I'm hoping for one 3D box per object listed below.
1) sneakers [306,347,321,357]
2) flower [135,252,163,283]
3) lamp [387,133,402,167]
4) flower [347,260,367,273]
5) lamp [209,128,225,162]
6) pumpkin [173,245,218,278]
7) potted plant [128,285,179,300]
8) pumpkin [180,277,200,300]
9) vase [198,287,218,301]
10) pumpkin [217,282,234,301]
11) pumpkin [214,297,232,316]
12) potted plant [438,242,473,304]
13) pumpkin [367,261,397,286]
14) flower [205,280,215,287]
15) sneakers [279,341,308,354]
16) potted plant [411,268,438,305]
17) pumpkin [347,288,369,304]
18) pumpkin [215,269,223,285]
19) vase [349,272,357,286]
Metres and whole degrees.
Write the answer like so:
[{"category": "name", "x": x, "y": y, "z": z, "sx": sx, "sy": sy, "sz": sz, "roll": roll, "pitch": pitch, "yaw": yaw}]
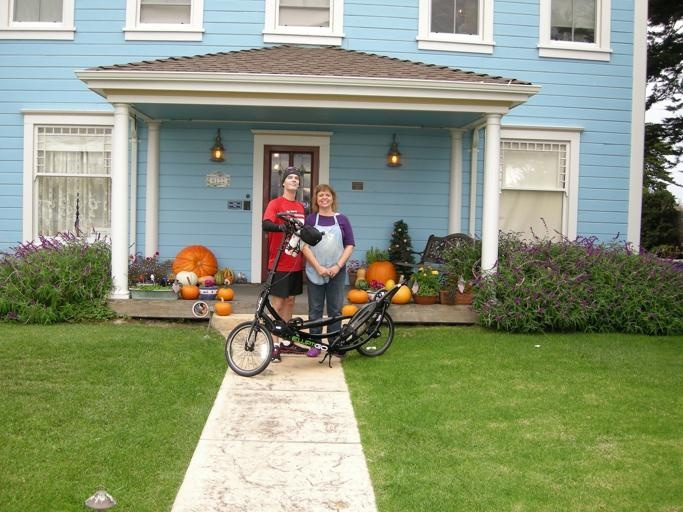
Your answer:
[{"category": "sneakers", "x": -0.364, "y": 1.282, "z": 8.968, "sx": 0.113, "sy": 0.086, "sz": 0.211, "roll": -1, "pitch": -7, "yaw": 5}, {"category": "flower", "x": -3.307, "y": 0.270, "z": 11.701, "sx": 0.425, "sy": 0.470, "sz": 1.121, "roll": -1, "pitch": 2, "yaw": -17}, {"category": "lamp", "x": 0.953, "y": -1.783, "z": 12.462, "sx": 0.254, "sy": 0.558, "sz": 0.315, "roll": 0, "pitch": 3, "yaw": 5}, {"category": "flower", "x": 0.260, "y": 0.255, "z": 12.380, "sx": 0.243, "sy": 0.213, "sz": 0.247, "roll": -7, "pitch": 6, "yaw": -17}, {"category": "lamp", "x": -2.219, "y": -1.838, "z": 12.299, "sx": 0.261, "sy": 0.563, "sz": 0.294, "roll": -1, "pitch": 3, "yaw": -11}, {"category": "pumpkin", "x": -2.528, "y": 0.183, "z": 12.023, "sx": 0.538, "sy": 0.599, "sz": 0.580, "roll": 13, "pitch": 4, "yaw": 34}, {"category": "potted plant", "x": -2.924, "y": 0.643, "z": 10.637, "sx": 0.660, "sy": 0.184, "sz": 0.463, "roll": 0, "pitch": 3, "yaw": 20}, {"category": "pumpkin", "x": -2.407, "y": 0.618, "z": 10.851, "sx": 0.224, "sy": 0.301, "sz": 0.211, "roll": -3, "pitch": 5, "yaw": -44}, {"category": "vase", "x": -2.086, "y": 0.647, "z": 10.753, "sx": 0.197, "sy": 0.134, "sz": 0.203, "roll": -1, "pitch": -2, "yaw": 9}, {"category": "pumpkin", "x": -1.809, "y": 0.621, "z": 10.671, "sx": 0.205, "sy": 0.197, "sz": 0.212, "roll": 2, "pitch": 9, "yaw": 13}, {"category": "pumpkin", "x": -1.777, "y": 0.815, "z": 10.282, "sx": 0.211, "sy": 0.299, "sz": 0.216, "roll": -1, "pitch": 3, "yaw": -14}, {"category": "potted plant", "x": 1.913, "y": 0.342, "z": 11.251, "sx": 0.560, "sy": 0.940, "sz": 0.816, "roll": 0, "pitch": 3, "yaw": 11}, {"category": "pumpkin", "x": 0.687, "y": 0.386, "z": 11.985, "sx": 0.382, "sy": 0.389, "sz": 0.403, "roll": 1, "pitch": -2, "yaw": 34}, {"category": "flower", "x": -2.102, "y": 0.508, "z": 10.935, "sx": 0.109, "sy": 0.069, "sz": 0.112, "roll": 4, "pitch": -5, "yaw": -14}, {"category": "sneakers", "x": -0.625, "y": 1.207, "z": 8.742, "sx": 0.401, "sy": 0.181, "sz": 0.148, "roll": 1, "pitch": -1, "yaw": -16}, {"category": "potted plant", "x": 1.351, "y": 0.538, "z": 11.061, "sx": 0.511, "sy": 0.565, "sz": 0.337, "roll": -2, "pitch": 3, "yaw": -27}, {"category": "pumpkin", "x": 0.266, "y": 0.695, "z": 10.868, "sx": 0.228, "sy": 0.169, "sz": 0.227, "roll": 5, "pitch": -5, "yaw": -35}, {"category": "pumpkin", "x": -2.155, "y": 0.444, "z": 12.178, "sx": 0.203, "sy": 0.290, "sz": 0.195, "roll": 2, "pitch": -6, "yaw": -6}, {"category": "vase", "x": 0.199, "y": 0.483, "z": 12.274, "sx": 0.189, "sy": 0.202, "sz": 0.187, "roll": 1, "pitch": -1, "yaw": -3}]
